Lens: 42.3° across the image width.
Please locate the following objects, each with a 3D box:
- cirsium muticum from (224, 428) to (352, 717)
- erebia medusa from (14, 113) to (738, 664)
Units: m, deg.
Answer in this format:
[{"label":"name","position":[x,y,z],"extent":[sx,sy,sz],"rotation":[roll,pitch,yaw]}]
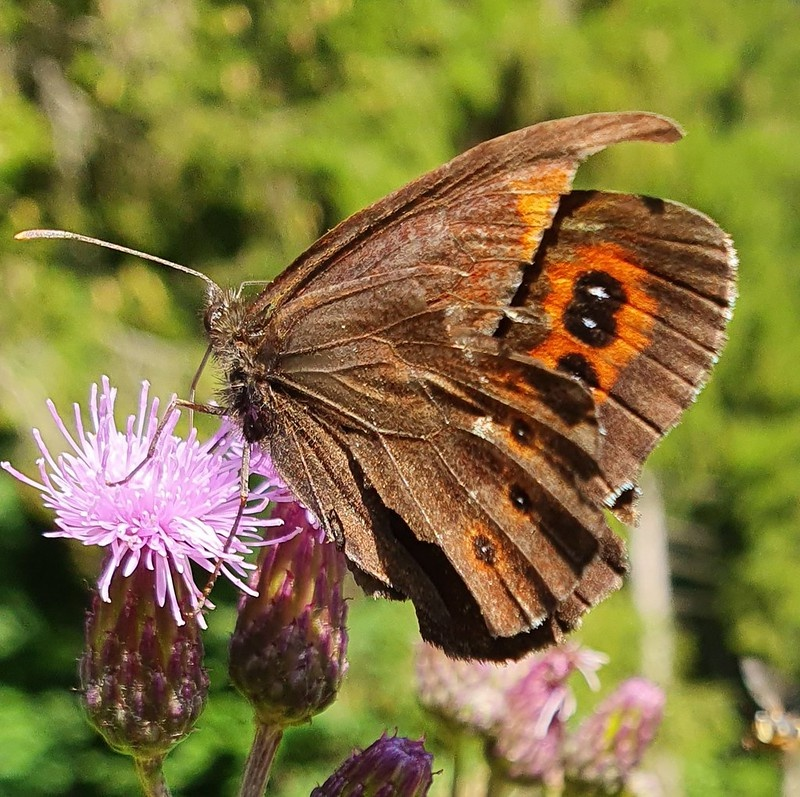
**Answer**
[{"label":"cirsium muticum","position":[-0.335,0.565,3.300],"extent":[0.322,0.358,0.872],"rotation":[1,76,-15]},{"label":"erebia medusa","position":[-0.196,-0.100,3.872],"extent":[2.485,1.107,2.079],"rotation":[11,92,6]}]
